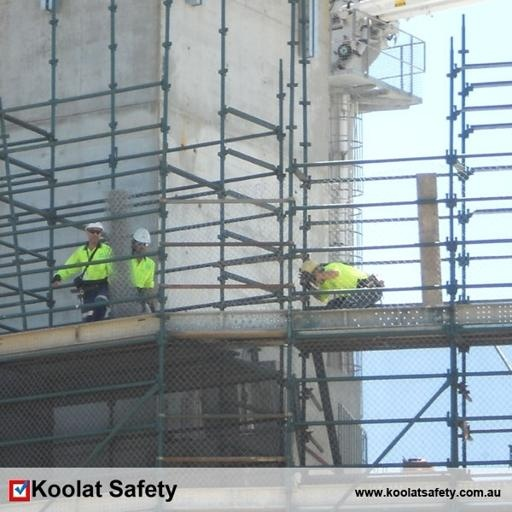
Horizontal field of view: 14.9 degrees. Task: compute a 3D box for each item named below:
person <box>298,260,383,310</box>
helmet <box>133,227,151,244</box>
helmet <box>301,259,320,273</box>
[{"bbox_3d":[1.029,0.211,25.224,0.999,0.312,0.704,4,13,8],"label":"person"},{"bbox_3d":[-1.488,-0.282,25.135,0.206,0.268,0.225,0,-20,-6],"label":"helmet"},{"bbox_3d":[0.644,0.109,25.061,0.168,0.173,0.099,-37,-68,6],"label":"helmet"}]
